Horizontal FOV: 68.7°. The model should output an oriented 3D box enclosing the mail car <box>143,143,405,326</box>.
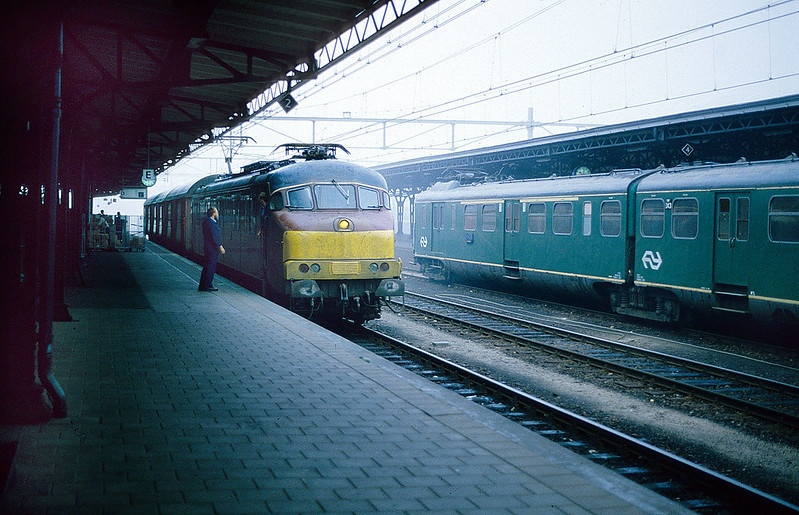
[{"bbox_3d":[-6.412,-1.187,22.257,3.586,4.732,18.566,1,3,-35],"label":"mail car"}]
